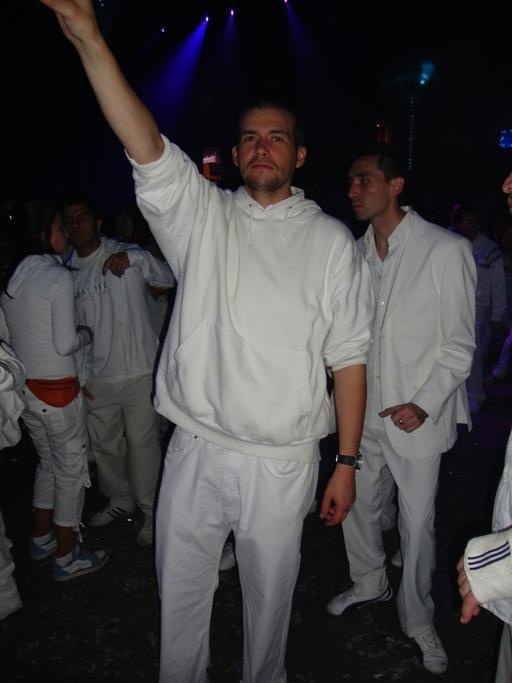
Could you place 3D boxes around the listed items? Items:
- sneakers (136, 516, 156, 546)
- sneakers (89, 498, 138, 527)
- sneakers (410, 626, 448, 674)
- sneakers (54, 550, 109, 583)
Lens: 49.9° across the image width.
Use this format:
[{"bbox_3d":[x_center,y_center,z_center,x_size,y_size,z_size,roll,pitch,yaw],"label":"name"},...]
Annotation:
[{"bbox_3d":[-0.654,1.106,3.262,0.070,0.094,0.220,1,15,-8],"label":"sneakers"},{"bbox_3d":[-0.910,1.090,3.525,0.314,0.152,0.110,-4,18,-32],"label":"sneakers"},{"bbox_3d":[0.735,1.294,2.324,0.127,0.114,0.157,-10,15,-42],"label":"sneakers"},{"bbox_3d":[-0.937,1.176,2.955,0.253,0.147,0.104,-5,9,-42],"label":"sneakers"}]
